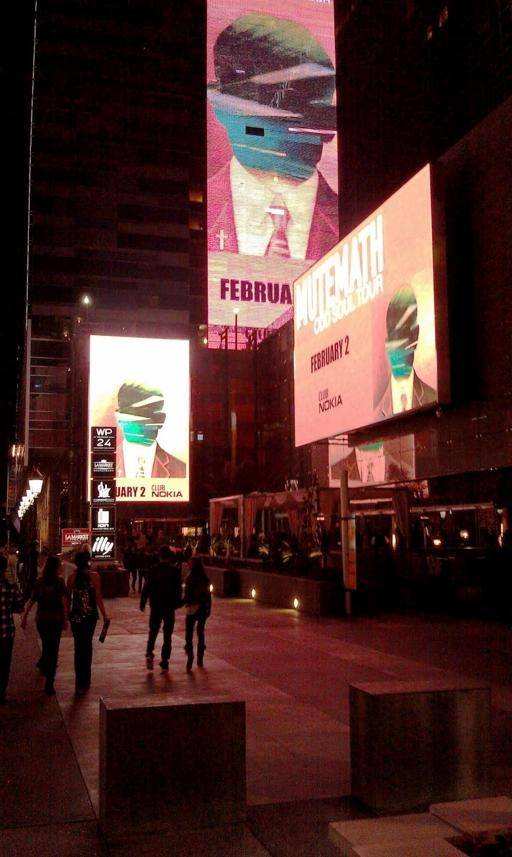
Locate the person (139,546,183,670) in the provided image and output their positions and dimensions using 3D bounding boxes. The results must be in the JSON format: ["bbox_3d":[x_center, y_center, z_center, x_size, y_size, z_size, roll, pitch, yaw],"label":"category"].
[{"bbox_3d":[-1.487,2.762,11.047,0.635,1.880,1.855,1,-5,-9],"label":"person"}]

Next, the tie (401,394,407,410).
[{"bbox_3d":[3.313,-0.582,15.936,0.089,0.346,0.112,-6,-17,33],"label":"tie"}]

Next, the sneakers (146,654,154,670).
[{"bbox_3d":[-1.639,3.611,10.918,0.087,0.157,0.322,1,-6,-2],"label":"sneakers"}]

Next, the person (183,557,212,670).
[{"bbox_3d":[-0.927,2.819,10.961,0.387,1.634,1.314,1,-5,-5],"label":"person"}]
